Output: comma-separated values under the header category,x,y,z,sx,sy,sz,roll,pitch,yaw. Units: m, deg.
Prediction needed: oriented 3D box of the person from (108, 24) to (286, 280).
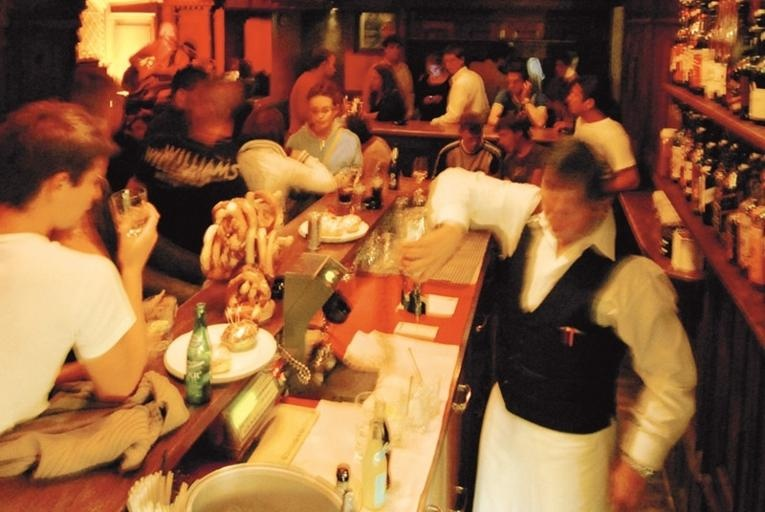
category,x,y,z,sx,sy,sz,roll,pitch,yaw
person,-1.047,-0.529,3.612,1.050,1.477,0.910,0,20,0

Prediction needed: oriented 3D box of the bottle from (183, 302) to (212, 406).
category,x,y,z,sx,sy,sz,roll,pitch,yaw
bottle,-0.671,0.369,2.307,0.094,0.341,0.087,0,18,0

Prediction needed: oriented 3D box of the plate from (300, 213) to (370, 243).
category,x,y,z,sx,sy,sz,roll,pitch,yaw
plate,-0.211,-0.177,3.631,0.417,0.130,0.211,-16,25,-40
